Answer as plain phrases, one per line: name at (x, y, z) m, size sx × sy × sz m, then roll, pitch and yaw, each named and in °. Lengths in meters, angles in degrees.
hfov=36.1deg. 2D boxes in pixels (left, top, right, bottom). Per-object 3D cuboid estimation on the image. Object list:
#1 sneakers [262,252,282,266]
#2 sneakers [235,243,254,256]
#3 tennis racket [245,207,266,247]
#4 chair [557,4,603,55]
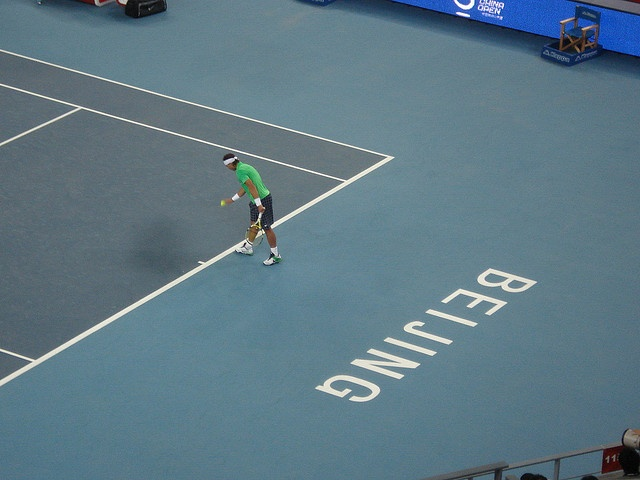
sneakers at (-0.825, 0.338, 17.186) m, size 0.370 × 0.187 × 0.140 m, roll -33°, pitch -55°, yaw 25°
sneakers at (-1.309, 0.170, 17.416) m, size 0.380 × 0.133 × 0.233 m, roll 15°, pitch -46°, yaw 9°
tennis racket at (-1.100, -0.141, 17.462) m, size 0.051 × 0.346 × 0.588 m, roll -14°, pitch -47°, yaw -41°
chair at (6.171, -5.004, 23.195) m, size 0.936 × 0.875 × 1.189 m, roll 23°, pitch -50°, yaw 41°
